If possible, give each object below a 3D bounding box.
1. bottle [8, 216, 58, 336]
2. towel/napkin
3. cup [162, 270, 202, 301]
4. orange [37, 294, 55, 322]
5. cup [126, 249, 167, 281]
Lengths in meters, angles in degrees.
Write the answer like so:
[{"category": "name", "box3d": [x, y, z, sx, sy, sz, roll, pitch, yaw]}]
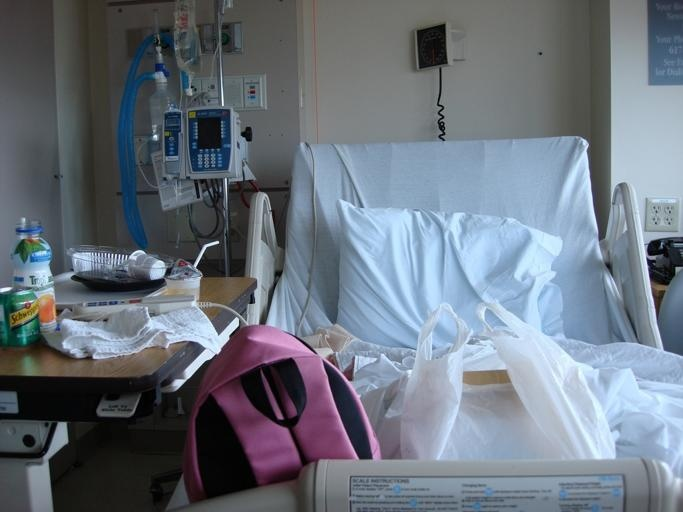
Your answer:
[{"category": "bottle", "box3d": [-0.817, 0.035, 1.448, 0.117, 0.326, 0.101, 5, 7, 44]}, {"category": "towel/napkin", "box3d": [-0.532, 0.141, 1.530, 0.398, 0.139, 0.470, 2, 9, 9]}, {"category": "cup", "box3d": [-0.520, 0.091, 1.750, 0.097, 0.112, 0.112, 1, -7, 1]}, {"category": "orange", "box3d": [-0.776, 0.131, 1.414, 0.048, 0.101, 0.050, -4, 10, -34]}, {"category": "cup", "box3d": [-0.651, 0.033, 1.787, 0.096, 0.094, 0.103, 9, 4, -1]}]
